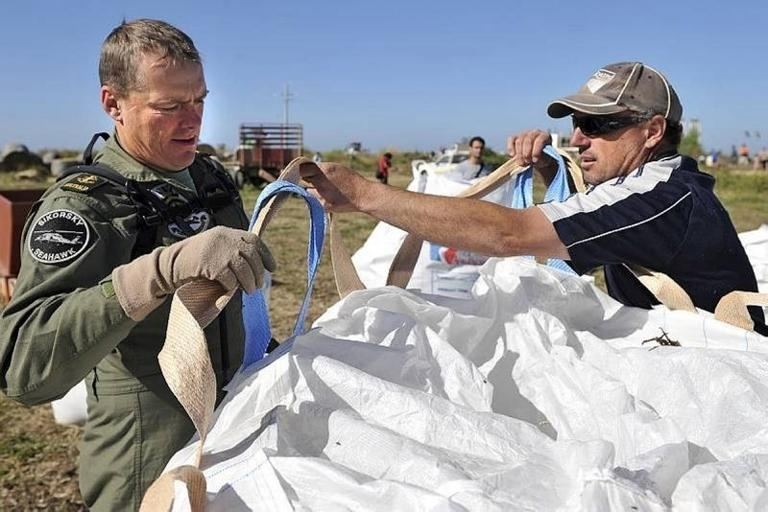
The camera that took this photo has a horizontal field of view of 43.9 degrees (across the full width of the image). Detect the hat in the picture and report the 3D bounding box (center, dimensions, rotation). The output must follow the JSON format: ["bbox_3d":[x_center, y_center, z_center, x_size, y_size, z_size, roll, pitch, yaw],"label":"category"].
[{"bbox_3d":[1.102,-0.737,4.454,0.565,0.352,0.393,4,-1,-8],"label":"hat"}]

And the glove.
[{"bbox_3d":[-0.732,0.048,3.569,0.469,0.224,0.338,-19,9,-27],"label":"glove"}]
